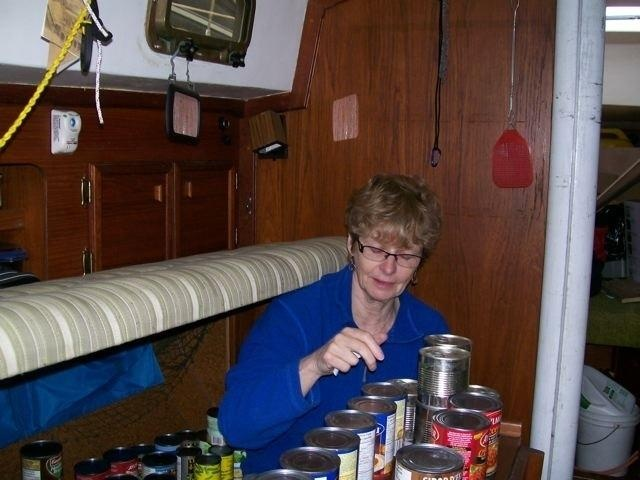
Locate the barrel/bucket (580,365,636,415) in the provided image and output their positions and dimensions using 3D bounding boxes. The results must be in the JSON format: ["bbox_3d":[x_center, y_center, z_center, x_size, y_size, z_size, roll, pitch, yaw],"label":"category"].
[{"bbox_3d":[1.573,0.810,2.730,0.256,0.271,0.236,2,0,0],"label":"barrel/bucket"}]

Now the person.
[{"bbox_3d":[0.054,0.237,1.435,0.472,0.805,0.657,2,0,27],"label":"person"}]
